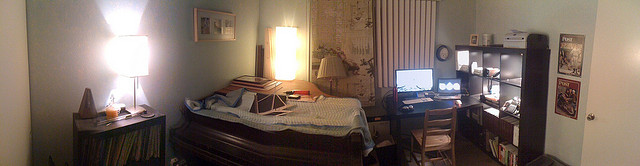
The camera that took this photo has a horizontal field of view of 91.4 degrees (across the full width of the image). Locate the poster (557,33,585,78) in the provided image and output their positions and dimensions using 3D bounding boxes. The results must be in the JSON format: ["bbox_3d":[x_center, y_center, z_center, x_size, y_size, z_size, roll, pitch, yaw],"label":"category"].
[{"bbox_3d":[8.456,-0.932,10.572,0.648,1.416,0.507,1,19,20],"label":"poster"}]

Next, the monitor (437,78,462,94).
[{"bbox_3d":[4.870,0.084,12.125,1.533,0.527,0.666,1,2,9],"label":"monitor"}]

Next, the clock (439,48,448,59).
[{"bbox_3d":[4.736,-1.139,12.016,0.343,0.392,0.092,-6,18,-9],"label":"clock"}]

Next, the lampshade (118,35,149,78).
[{"bbox_3d":[-5.832,-0.845,9.815,1.013,1.311,0.515,-10,18,-18],"label":"lampshade"}]

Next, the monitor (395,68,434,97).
[{"bbox_3d":[3.523,-0.015,11.813,2.116,0.778,0.432,0,2,-3],"label":"monitor"}]
